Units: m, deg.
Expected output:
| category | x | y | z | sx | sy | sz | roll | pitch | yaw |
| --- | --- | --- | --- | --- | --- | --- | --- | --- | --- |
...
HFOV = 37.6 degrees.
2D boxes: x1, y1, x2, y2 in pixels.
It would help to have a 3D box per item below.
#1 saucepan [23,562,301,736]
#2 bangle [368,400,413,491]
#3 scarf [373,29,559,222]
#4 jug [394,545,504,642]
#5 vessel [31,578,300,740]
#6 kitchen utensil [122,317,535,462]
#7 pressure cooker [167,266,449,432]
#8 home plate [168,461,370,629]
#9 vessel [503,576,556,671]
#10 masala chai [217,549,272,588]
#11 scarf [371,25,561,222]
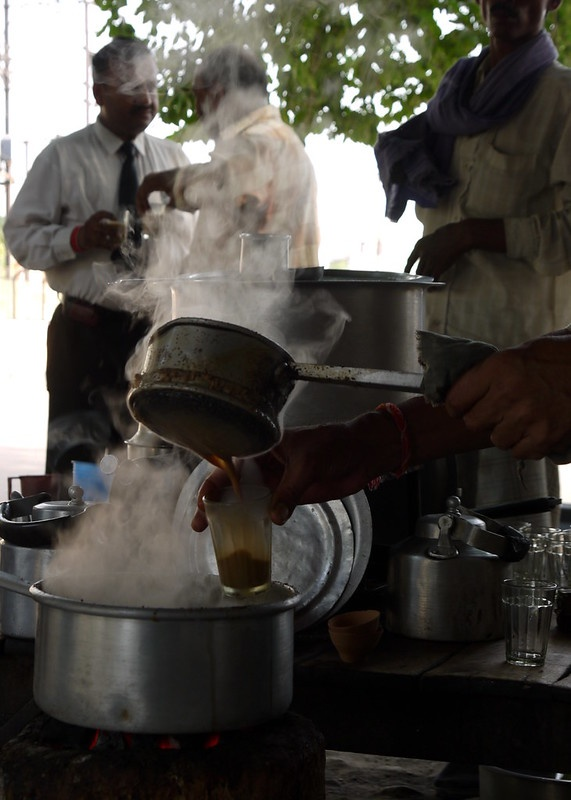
| category | x | y | z | sx | sy | sz | roll | pitch | yaw |
| --- | --- | --- | --- | --- | --- | --- | --- | --- | --- |
| saucepan | -0.186 | 0.405 | 1.359 | 0.449 | 0.147 | 0.419 | 1 | -8 | 3 |
| bangle | 0.205 | 0.090 | 1.654 | 0.129 | 0.152 | 0.062 | -23 | 21 | -39 |
| scarf | 0.672 | -0.994 | 3.293 | 0.829 | 0.474 | 0.299 | -20 | -41 | 40 |
| jug | 0.323 | 0.392 | 1.706 | 0.214 | 0.173 | 0.198 | 1 | -6 | 3 |
| vessel | -0.216 | 0.387 | 1.360 | 0.455 | 0.158 | 0.468 | 1 | -7 | 37 |
| kitchen utensil | 0.027 | -0.007 | 1.322 | 0.529 | 0.255 | 0.230 | -3 | 16 | -21 |
| pressure cooker | 0.155 | -0.152 | 2.091 | 0.482 | 0.263 | 0.468 | 0 | -7 | 28 |
| home plate | -0.020 | 0.267 | 1.529 | 0.406 | 0.348 | 0.064 | 7 | 5 | -3 |
| vessel | 0.454 | 0.421 | 1.565 | 0.121 | 0.148 | 0.112 | 3 | -13 | 2 |
| masala chai | -0.069 | 0.267 | 1.348 | 0.071 | 0.052 | 0.081 | -8 | -12 | 43 |
| scarf | 0.599 | -1.120 | 3.358 | 0.302 | 0.887 | 0.445 | 35 | 18 | -16 |
